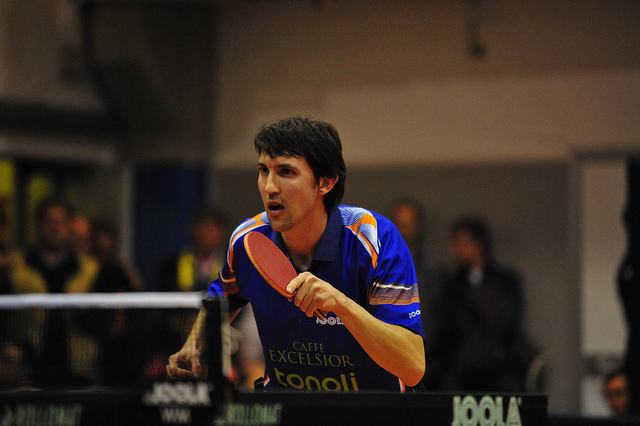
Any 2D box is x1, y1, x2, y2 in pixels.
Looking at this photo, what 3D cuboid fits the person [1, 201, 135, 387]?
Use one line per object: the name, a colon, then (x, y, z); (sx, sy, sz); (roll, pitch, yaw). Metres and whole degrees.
person: (-1.557, 0.450, 7.187); (1.144, 0.839, 1.110); (1, -9, -6)
